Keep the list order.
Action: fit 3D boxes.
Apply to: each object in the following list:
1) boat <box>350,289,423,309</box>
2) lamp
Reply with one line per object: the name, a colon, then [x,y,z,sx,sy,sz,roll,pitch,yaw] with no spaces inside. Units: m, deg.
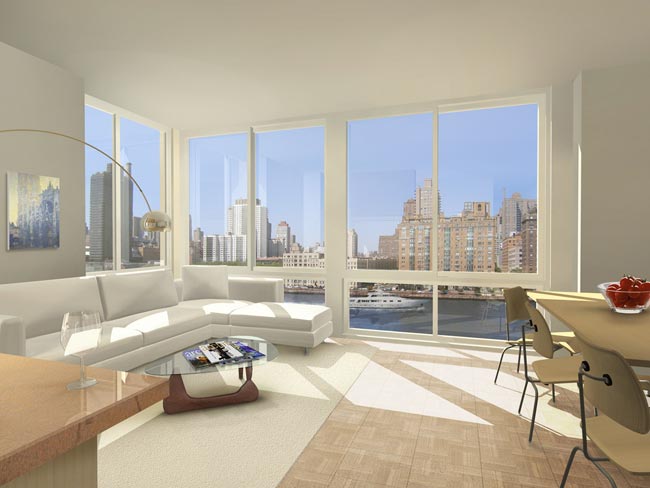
boat: [0.784,0.766,6.304,1.116,0.308,0.301,-2,2,15]
lamp: [-2.549,-0.735,5.156,1.240,1.077,2.114,-7,15,-27]
